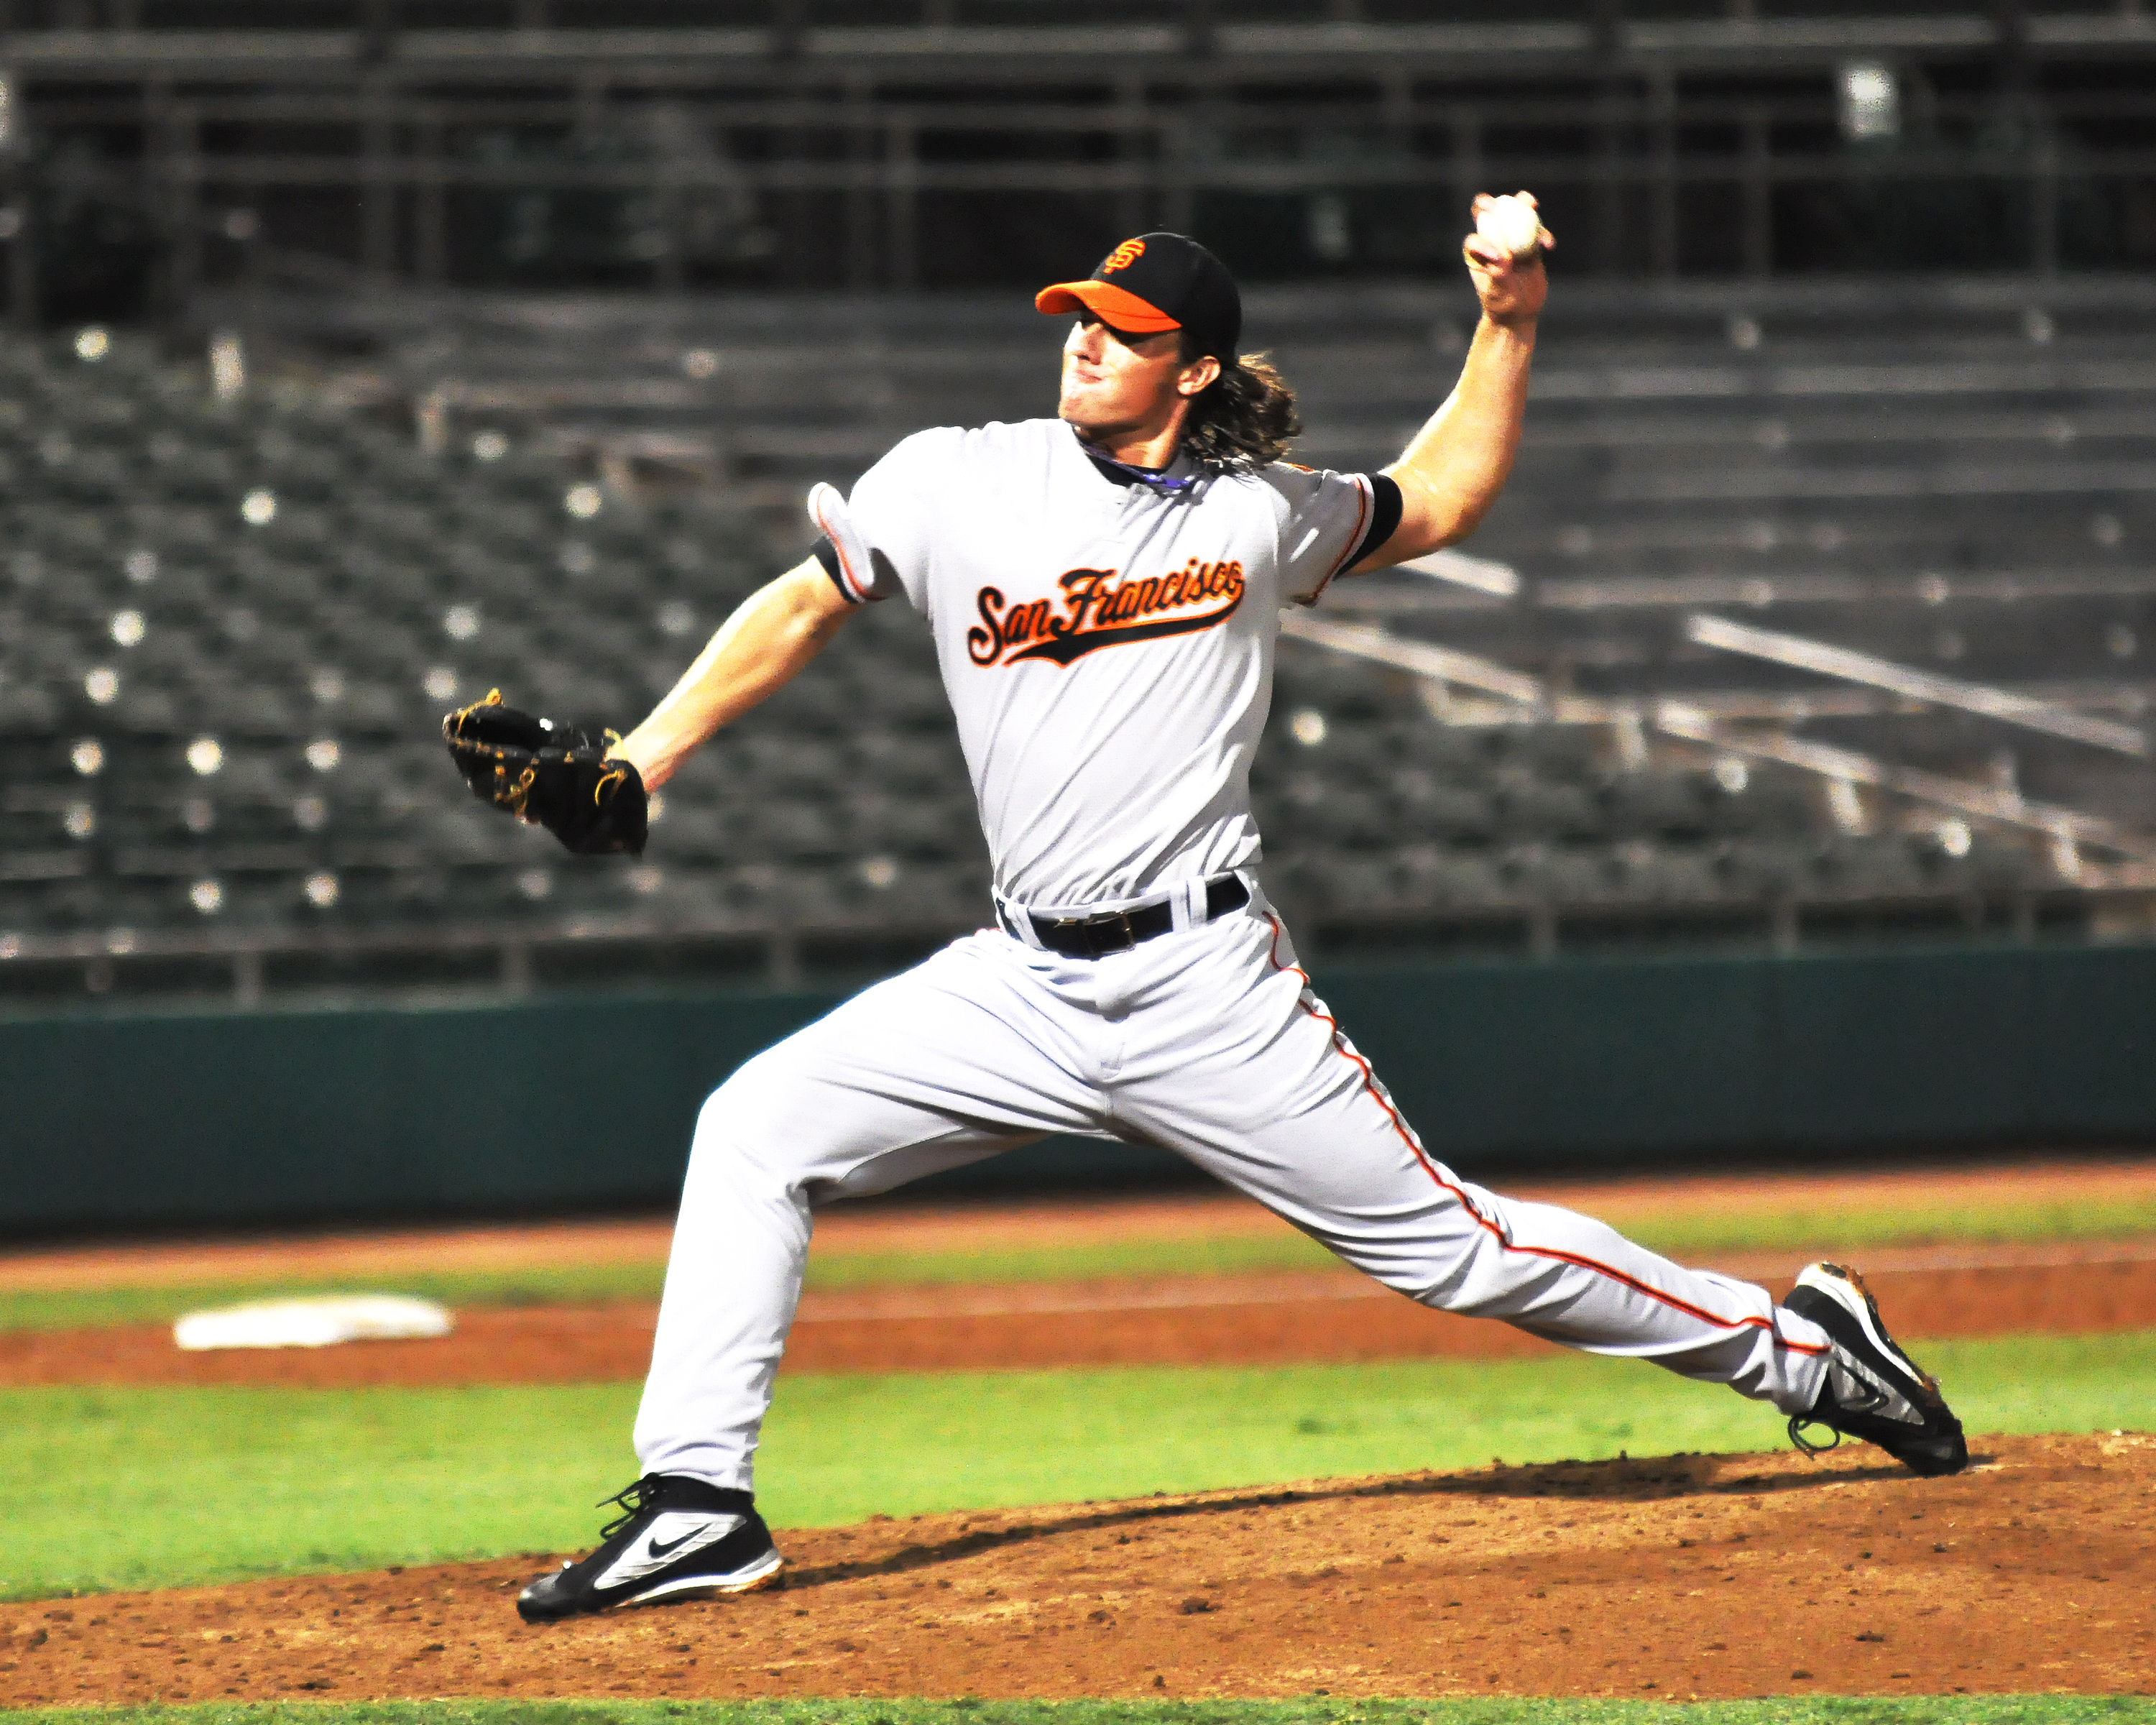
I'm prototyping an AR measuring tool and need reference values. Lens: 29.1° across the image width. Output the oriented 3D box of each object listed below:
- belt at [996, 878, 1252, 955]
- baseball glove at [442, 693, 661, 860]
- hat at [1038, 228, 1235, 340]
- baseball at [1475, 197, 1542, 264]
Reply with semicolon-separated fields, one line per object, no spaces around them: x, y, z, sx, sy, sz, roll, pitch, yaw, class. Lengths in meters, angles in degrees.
0.122;0.163;12.541;0.769;0.248;0.140;0;6;1;belt
-1.579;-0.255;12.598;0.625;0.282;0.455;31;24;-12;baseball glove
0.182;-1.755;12.624;0.539;0.219;0.337;10;4;-20;hat
1.292;-1.931;12.754;0.264;0.192;0.083;1;-16;0;baseball
